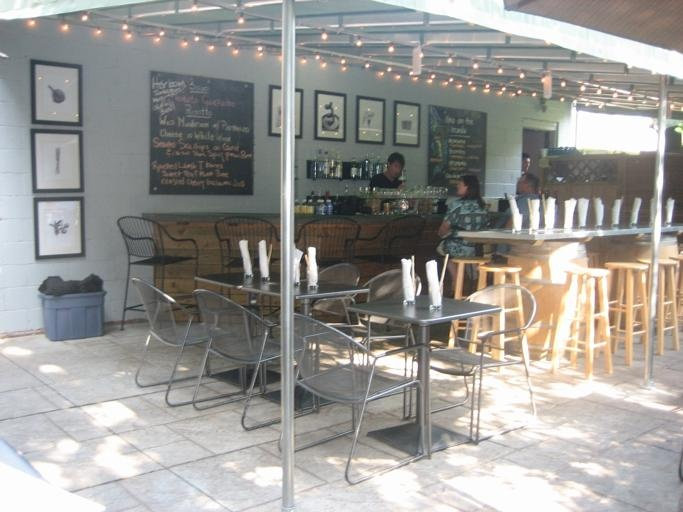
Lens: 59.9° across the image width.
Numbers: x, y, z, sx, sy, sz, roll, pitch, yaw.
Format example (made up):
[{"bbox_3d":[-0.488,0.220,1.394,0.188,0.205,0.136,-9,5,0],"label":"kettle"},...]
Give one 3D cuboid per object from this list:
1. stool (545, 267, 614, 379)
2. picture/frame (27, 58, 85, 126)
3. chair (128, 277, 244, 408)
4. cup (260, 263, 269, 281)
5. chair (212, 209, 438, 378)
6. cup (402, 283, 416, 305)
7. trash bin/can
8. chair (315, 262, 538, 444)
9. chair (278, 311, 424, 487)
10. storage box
[{"bbox_3d":[2.389,0.552,5.768,0.574,0.988,1.340,6,11,23],"label":"stool"},{"bbox_3d":[-3.184,-1.815,6.643,0.575,0.705,0.087,-7,15,-34],"label":"picture/frame"},{"bbox_3d":[-1.552,0.722,5.040,0.914,0.920,0.711,11,0,-2],"label":"chair"},{"bbox_3d":[-0.646,0.131,5.040,0.077,0.138,0.127,-1,11,-7],"label":"cup"},{"bbox_3d":[-0.205,0.326,5.209,2.210,0.884,0.575,-1,4,-23],"label":"chair"},{"bbox_3d":[0.491,0.266,4.241,0.086,0.141,0.141,2,11,5],"label":"cup"},{"bbox_3d":[-2.949,0.559,6.636,0.882,0.523,0.584,0,0,-41],"label":"trash bin/can"},{"bbox_3d":[0.956,0.698,4.812,1.722,1.208,1.228,-1,4,-34],"label":"chair"},{"bbox_3d":[0.079,0.852,3.805,0.778,0.796,0.744,2,0,34],"label":"chair"},{"bbox_3d":[-2.949,0.647,6.615,0.721,0.404,0.465,-2,5,-30],"label":"storage box"}]
